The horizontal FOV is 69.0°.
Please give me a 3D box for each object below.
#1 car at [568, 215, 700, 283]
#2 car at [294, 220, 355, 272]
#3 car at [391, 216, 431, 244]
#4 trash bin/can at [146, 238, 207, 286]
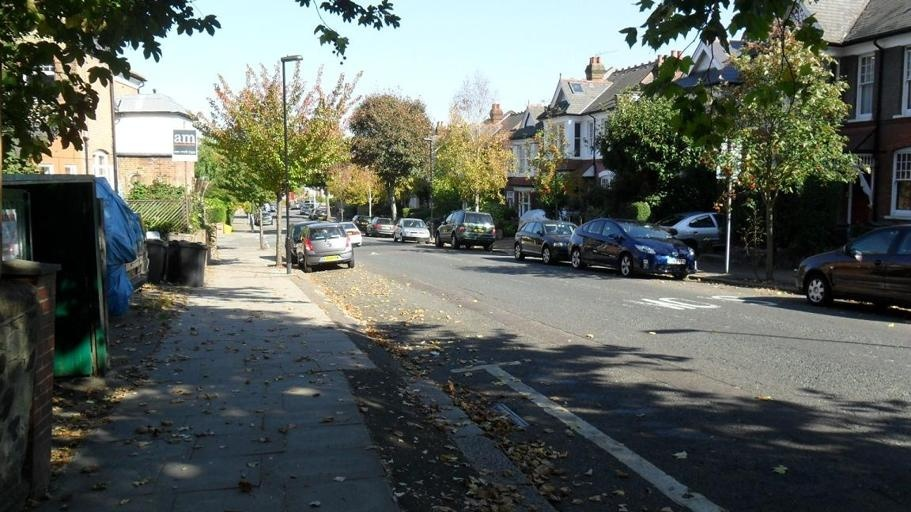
[{"bbox_3d":[6.096,-0.175,23.388,1.680,1.999,4.171,-5,13,-28],"label":"car"},{"bbox_3d":[-5.044,-0.371,25.566,1.452,1.127,2.453,-2,11,-18],"label":"car"},{"bbox_3d":[-3.077,-1.674,46.048,2.951,1.496,1.588,9,14,36],"label":"car"},{"bbox_3d":[-8.282,0.209,19.680,1.546,1.469,0.861,-1,12,-8],"label":"trash bin/can"}]
